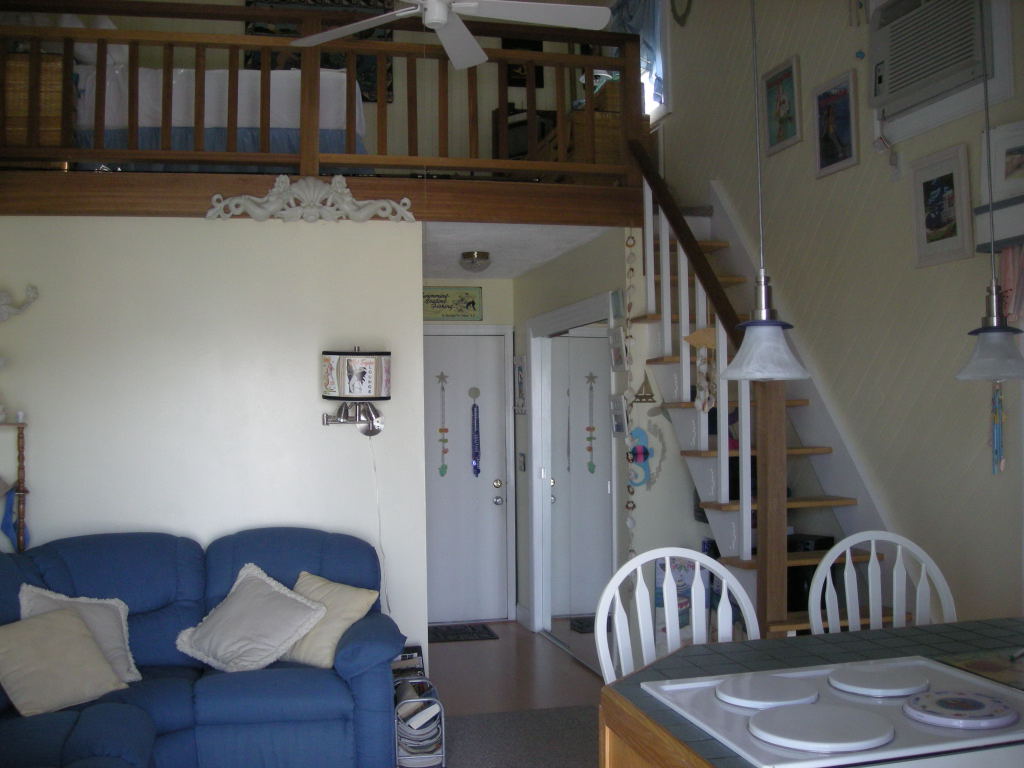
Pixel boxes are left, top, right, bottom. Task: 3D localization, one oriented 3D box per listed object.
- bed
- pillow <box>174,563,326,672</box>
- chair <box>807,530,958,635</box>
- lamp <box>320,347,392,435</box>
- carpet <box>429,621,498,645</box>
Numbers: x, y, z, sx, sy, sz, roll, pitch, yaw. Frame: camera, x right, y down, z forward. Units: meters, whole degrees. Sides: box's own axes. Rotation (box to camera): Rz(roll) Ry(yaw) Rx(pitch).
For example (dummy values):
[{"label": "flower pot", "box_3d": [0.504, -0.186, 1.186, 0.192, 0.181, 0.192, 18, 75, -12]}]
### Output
[{"label": "bed", "box_3d": [-1.832, -1.657, 5.985, 1.819, 0.746, 0.539, -2, 8, -1]}, {"label": "pillow", "box_3d": [-1.403, 1.326, 5.268, 0.747, 0.201, 0.795, 4, 38, 9]}, {"label": "chair", "box_3d": [1.804, 0.961, 4.638, 0.443, 0.791, 0.528, -4, -13, 4]}, {"label": "lamp", "box_3d": [-0.887, 0.032, 5.942, 0.393, 0.634, 0.499, 0, 1, 26]}, {"label": "carpet", "box_3d": [-0.386, 1.934, 7.504, 0.514, 0.068, 0.536, -2, 8, -6]}]
